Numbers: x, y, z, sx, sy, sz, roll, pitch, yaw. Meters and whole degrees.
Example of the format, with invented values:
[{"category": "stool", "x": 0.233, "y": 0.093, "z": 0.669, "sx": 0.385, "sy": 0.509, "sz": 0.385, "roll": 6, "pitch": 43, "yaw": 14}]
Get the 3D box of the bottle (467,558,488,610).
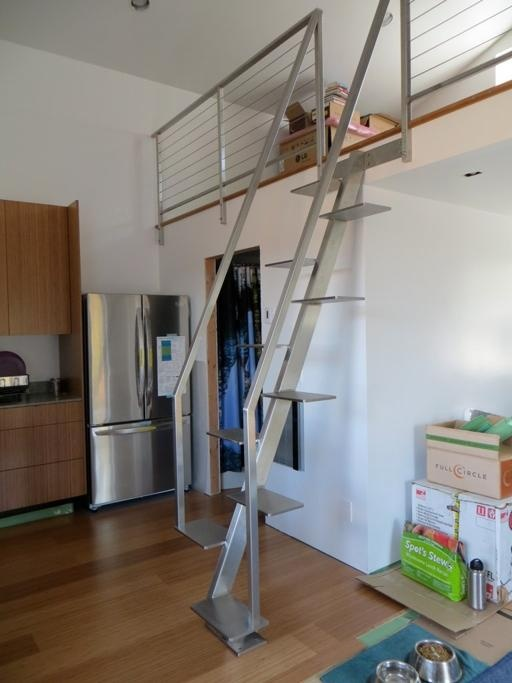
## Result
[{"category": "bottle", "x": 1.026, "y": 1.112, "z": 2.582, "sx": 0.094, "sy": 0.213, "sz": 0.100, "roll": -1, "pitch": 2, "yaw": 0}]
